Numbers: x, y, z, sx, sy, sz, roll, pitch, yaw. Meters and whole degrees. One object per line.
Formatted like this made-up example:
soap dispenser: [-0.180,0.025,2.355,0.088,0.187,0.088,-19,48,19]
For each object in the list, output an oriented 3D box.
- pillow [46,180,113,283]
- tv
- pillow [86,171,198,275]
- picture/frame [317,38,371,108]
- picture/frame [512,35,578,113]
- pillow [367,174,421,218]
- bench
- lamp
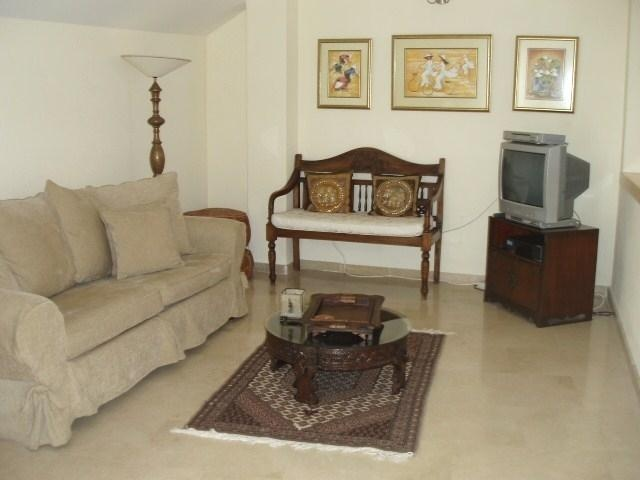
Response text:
pillow: [-1.527,-0.064,3.342,0.188,0.573,0.608,-15,-1,18]
tv: [1.771,-0.502,4.426,0.745,0.877,0.729,-8,12,-21]
pillow: [-1.253,-0.133,3.803,0.660,0.606,0.191,-17,7,-39]
picture/frame: [0.260,-1.701,5.182,0.692,0.791,0.058,2,5,15]
picture/frame: [2.073,-1.534,4.698,0.679,0.839,0.063,3,6,19]
pillow: [0.719,-0.424,4.968,0.445,0.361,0.312,2,15,8]
bench: [0.369,-0.195,5.012,1.359,1.148,0.575,3,14,17]
lamp: [-1.505,-1.179,4.817,0.547,1.103,0.796,-6,15,-20]
